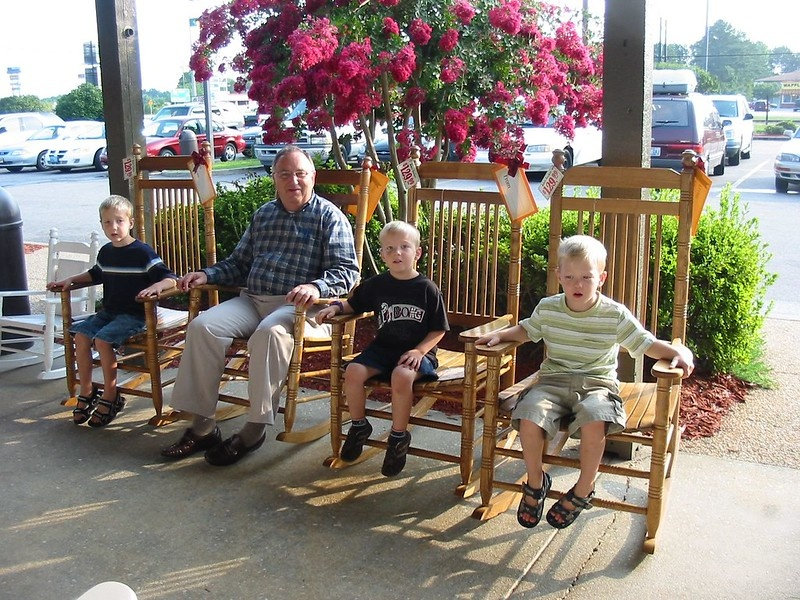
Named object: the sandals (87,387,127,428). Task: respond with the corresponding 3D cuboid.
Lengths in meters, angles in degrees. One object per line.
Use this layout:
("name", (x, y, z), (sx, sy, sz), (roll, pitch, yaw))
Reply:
("sandals", (-1.759, 0.651, 3.669), (0.115, 0.117, 0.275), (14, 37, 7))

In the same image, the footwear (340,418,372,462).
("footwear", (-0.219, 0.704, 2.997), (0.121, 0.237, 0.107), (32, 14, 32))

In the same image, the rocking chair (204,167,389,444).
("rocking chair", (-0.653, -0.068, 3.667), (1.260, 1.555, 1.183), (-3, 14, -13))

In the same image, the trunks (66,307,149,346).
("trunks", (-1.767, 0.096, 3.596), (0.287, 0.107, 0.266), (11, 27, 21))

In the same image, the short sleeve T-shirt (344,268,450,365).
("short sleeve T-shirt", (0.038, 0.054, 3.236), (0.759, 0.544, 0.401), (1, -7, 24))

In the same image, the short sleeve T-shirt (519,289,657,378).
("short sleeve T-shirt", (0.841, 0.172, 2.685), (0.705, 0.391, 0.261), (10, 20, 40))

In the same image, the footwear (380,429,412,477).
("footwear", (-0.017, 0.736, 2.888), (0.120, 0.229, 0.094), (10, 3, 29))

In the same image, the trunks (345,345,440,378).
("trunks", (-0.026, 0.313, 2.978), (0.417, 0.153, 0.211), (-2, 8, 3))

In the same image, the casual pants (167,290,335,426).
("casual pants", (-0.826, 0.318, 3.373), (0.750, 0.645, 0.546), (-1, 9, 11))

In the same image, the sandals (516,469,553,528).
("sandals", (0.568, 0.840, 2.550), (0.108, 0.115, 0.286), (6, 22, 25))

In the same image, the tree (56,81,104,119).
("tree", (-14.037, -8.542, 25.795), (1.852, 1.192, 1.771), (-8, 26, 9))

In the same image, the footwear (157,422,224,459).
("footwear", (-1.132, 0.791, 3.359), (0.379, 0.151, 0.134), (-17, 10, -32))

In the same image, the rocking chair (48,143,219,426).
("rocking chair", (-1.627, -0.123, 3.864), (1.082, 1.599, 1.036), (5, 11, 35))

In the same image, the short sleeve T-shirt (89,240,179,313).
("short sleeve T-shirt", (-1.683, -0.161, 3.785), (0.559, 0.382, 0.196), (3, 0, 19))

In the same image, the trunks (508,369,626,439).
("trunks", (0.719, 0.448, 2.529), (0.328, 0.144, 0.363), (-4, 6, 21))

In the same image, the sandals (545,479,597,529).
("sandals", (0.713, 0.844, 2.468), (0.123, 0.218, 0.073), (41, -6, 32))

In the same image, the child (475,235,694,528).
("child", (0.816, 0.312, 2.591), (0.932, 1.098, 0.757), (-3, 13, 2))

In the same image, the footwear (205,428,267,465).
("footwear", (-0.862, 0.789, 3.235), (0.336, 0.120, 0.121), (-21, 45, -40))
